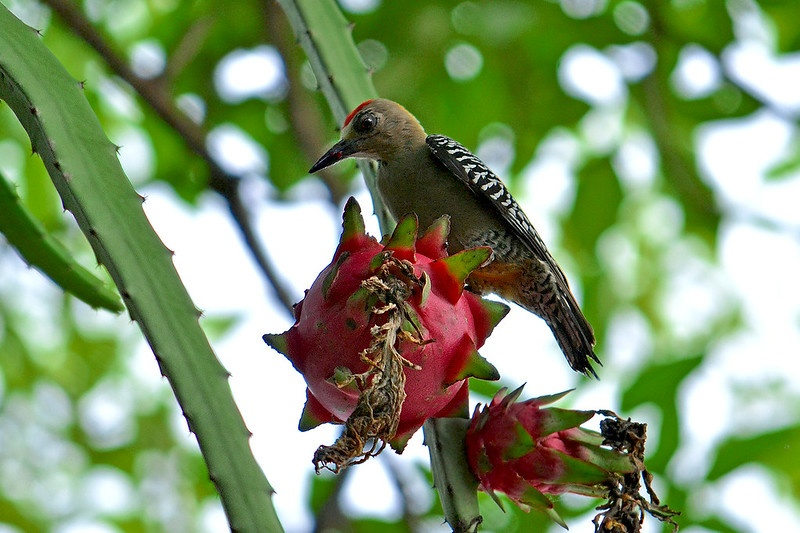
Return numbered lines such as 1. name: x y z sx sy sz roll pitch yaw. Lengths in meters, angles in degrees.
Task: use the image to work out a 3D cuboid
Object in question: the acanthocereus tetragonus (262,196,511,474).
1. acanthocereus tetragonus: -0.070 0.167 4.484 0.690 0.813 1.203 0 -85 6
